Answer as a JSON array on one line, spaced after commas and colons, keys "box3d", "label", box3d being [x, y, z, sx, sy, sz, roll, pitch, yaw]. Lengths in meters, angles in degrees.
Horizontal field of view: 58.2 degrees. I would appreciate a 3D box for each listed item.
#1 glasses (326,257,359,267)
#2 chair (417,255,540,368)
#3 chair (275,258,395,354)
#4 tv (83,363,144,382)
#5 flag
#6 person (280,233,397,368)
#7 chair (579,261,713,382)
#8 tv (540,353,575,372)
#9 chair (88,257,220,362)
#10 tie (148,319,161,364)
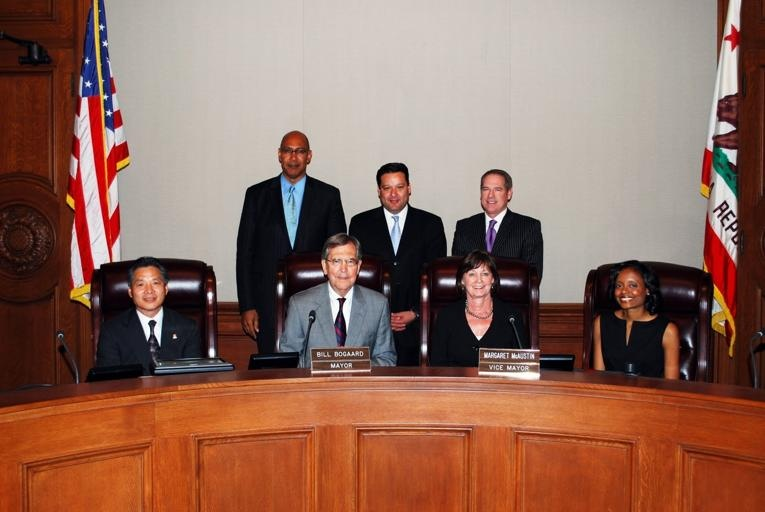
[{"box3d": [-0.246, 0.035, 4.103, 0.201, 0.066, 0.089, 1, -2, -12], "label": "glasses"}, {"box3d": [0.576, 0.348, 4.573, 0.573, 0.997, 0.716, 1, -3, 3], "label": "chair"}, {"box3d": [-0.336, 0.382, 4.711, 0.497, 0.830, 0.590, 1, -13, -3], "label": "chair"}, {"box3d": [-1.297, 0.565, 3.326, 0.253, 0.064, 0.152, 1, -3, -27], "label": "tv"}, {"box3d": [2.643, -0.656, 5.356, 0.279, 2.668, 0.223, 0, -2, 23], "label": "flag"}, {"box3d": [-0.261, 0.262, 4.102, 0.704, 0.782, 0.329, 1, -2, -10], "label": "person"}, {"box3d": [1.724, 0.421, 4.708, 0.597, 1.056, 0.828, 1, -4, 16], "label": "chair"}, {"box3d": [0.882, 0.530, 3.431, 0.204, 0.076, 0.076, 1, -2, -19], "label": "tv"}, {"box3d": [-1.499, 0.357, 4.682, 0.563, 0.981, 0.696, 0, -14, -15], "label": "chair"}, {"box3d": [-1.392, 0.508, 4.169, 0.065, 0.233, 0.094, 1, -2, -22], "label": "tie"}]
